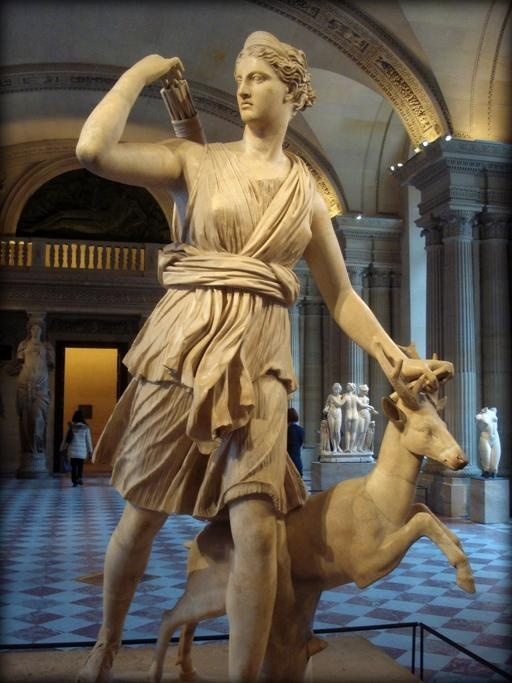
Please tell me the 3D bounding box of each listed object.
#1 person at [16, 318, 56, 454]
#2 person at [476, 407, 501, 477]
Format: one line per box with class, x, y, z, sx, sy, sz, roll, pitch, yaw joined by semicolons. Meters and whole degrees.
person;-4.229;0.808;14.285;0.666;2.676;0.795;2;-3;-14
person;2.768;1.208;8.997;0.280;0.800;0.284;0;-3;14
